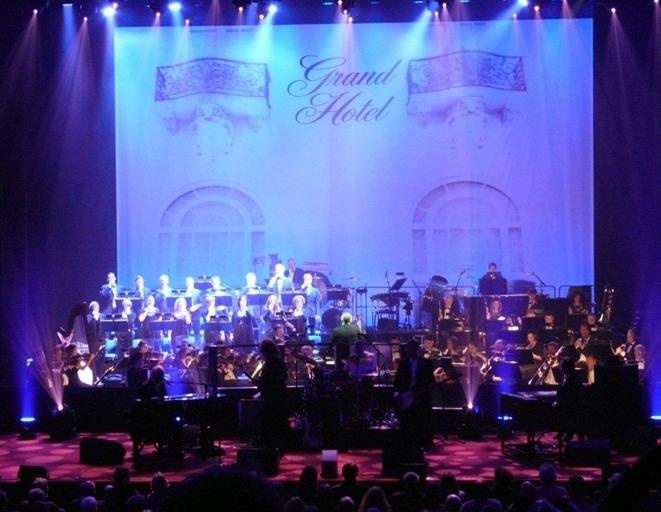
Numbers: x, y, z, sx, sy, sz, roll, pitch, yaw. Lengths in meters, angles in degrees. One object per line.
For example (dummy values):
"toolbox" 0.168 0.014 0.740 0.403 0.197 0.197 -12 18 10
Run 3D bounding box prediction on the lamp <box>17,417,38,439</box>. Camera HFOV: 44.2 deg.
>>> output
"lamp" -6.587 3.709 17.560 0.391 0.422 0.392 2 -4 -11

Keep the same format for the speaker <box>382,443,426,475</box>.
"speaker" 1.282 3.691 14.643 0.535 0.387 0.585 1 -4 6

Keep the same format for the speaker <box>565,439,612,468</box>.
"speaker" 4.619 3.514 14.518 0.870 0.605 0.467 -2 -12 10

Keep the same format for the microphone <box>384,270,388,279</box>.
"microphone" 1.604 0.541 23.787 0.086 0.288 0.067 -4 -37 12

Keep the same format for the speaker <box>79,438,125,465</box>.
"speaker" -4.375 3.581 15.657 0.731 0.501 0.523 5 6 18
